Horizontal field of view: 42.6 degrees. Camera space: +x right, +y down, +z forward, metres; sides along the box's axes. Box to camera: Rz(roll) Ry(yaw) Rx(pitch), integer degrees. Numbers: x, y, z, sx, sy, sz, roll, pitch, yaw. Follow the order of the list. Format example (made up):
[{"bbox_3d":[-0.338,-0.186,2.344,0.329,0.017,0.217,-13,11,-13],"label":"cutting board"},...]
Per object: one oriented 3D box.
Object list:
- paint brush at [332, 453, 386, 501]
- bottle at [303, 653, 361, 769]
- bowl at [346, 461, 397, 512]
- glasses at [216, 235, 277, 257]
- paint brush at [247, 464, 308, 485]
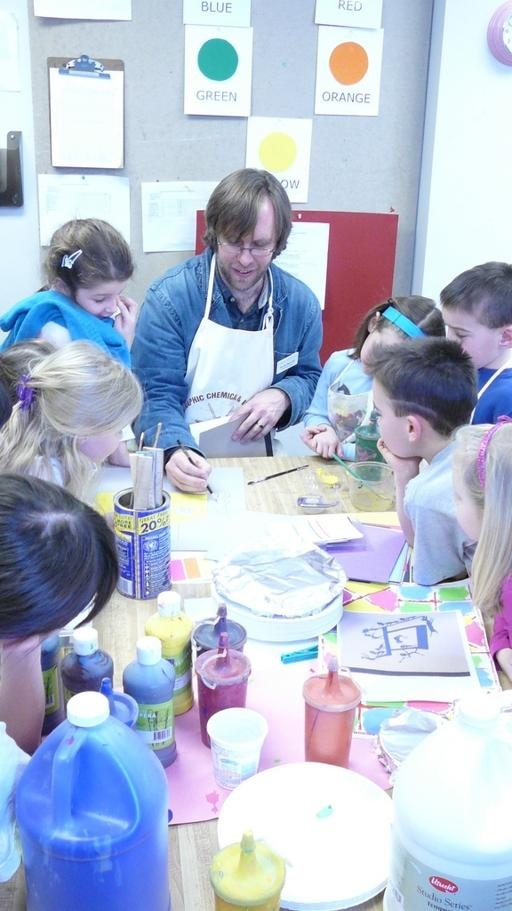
[{"bbox_3d":[0.244,0.066,1.533,0.104,0.078,0.085,27,41,37],"label":"paint brush"},{"bbox_3d":[0.084,0.287,0.741,0.062,0.149,0.071,2,12,6],"label":"bottle"},{"bbox_3d":[0.272,0.062,1.512,0.089,0.080,0.110,-2,19,0],"label":"bowl"},{"bbox_3d":[-0.029,-0.611,1.940,0.159,0.049,0.071,-1,13,-7],"label":"glasses"},{"bbox_3d":[0.051,0.047,1.611,0.131,0.011,0.014,-14,-24,-38],"label":"paint brush"}]
